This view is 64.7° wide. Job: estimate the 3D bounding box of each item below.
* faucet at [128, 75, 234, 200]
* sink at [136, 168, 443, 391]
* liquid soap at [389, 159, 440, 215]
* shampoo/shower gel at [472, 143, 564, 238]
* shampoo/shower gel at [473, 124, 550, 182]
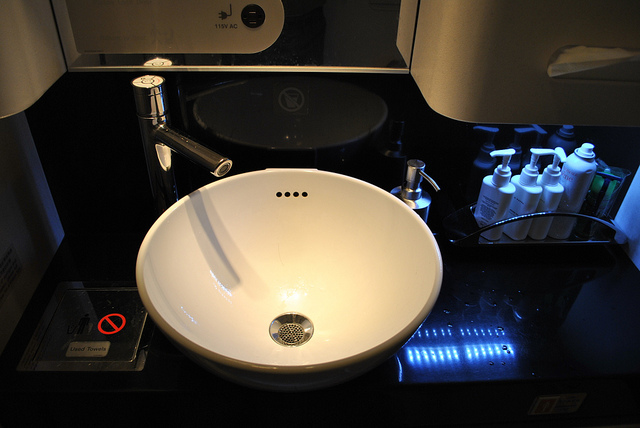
[{"bbox_3d":[-0.331,-0.147,1.155,0.107,0.296,0.294,-29,45,-33],"label":"faucet"},{"bbox_3d":[-0.059,0.147,1.126,0.629,0.261,0.520,8,37,12],"label":"sink"},{"bbox_3d":[0.236,-0.074,1.293,0.071,0.149,0.085,-24,42,-30],"label":"liquid soap"},{"bbox_3d":[0.537,-0.055,1.342,0.236,0.233,0.140,-4,36,-5],"label":"shampoo/shower gel"},{"bbox_3d":[0.519,-0.161,1.367,0.185,0.144,0.070,6,27,11],"label":"shampoo/shower gel"}]
